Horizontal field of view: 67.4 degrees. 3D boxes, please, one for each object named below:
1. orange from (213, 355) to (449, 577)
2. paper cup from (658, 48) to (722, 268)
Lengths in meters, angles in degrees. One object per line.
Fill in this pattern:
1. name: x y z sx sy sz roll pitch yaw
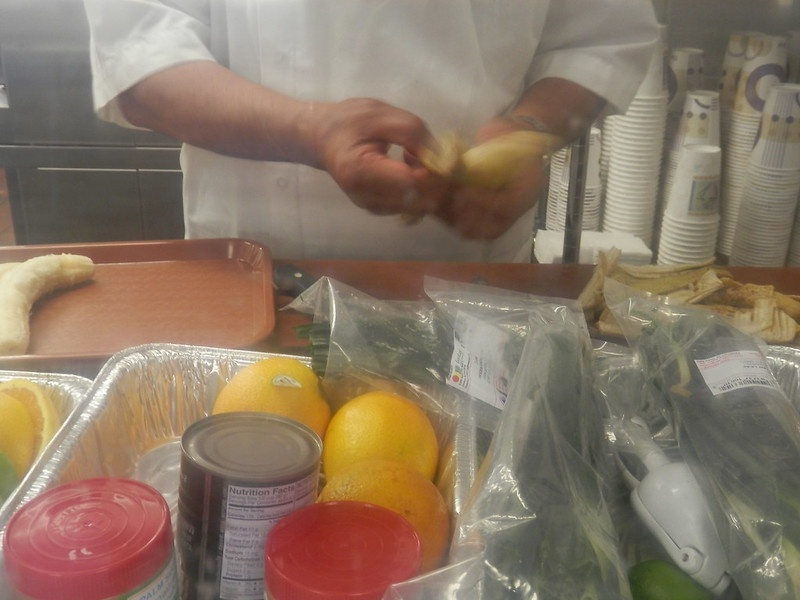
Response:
1. orange: -0.057 0.133 0.471 0.169 0.081 0.104 31 45 20
2. paper cup: 0.385 -0.185 0.795 0.088 0.276 0.117 8 17 28
